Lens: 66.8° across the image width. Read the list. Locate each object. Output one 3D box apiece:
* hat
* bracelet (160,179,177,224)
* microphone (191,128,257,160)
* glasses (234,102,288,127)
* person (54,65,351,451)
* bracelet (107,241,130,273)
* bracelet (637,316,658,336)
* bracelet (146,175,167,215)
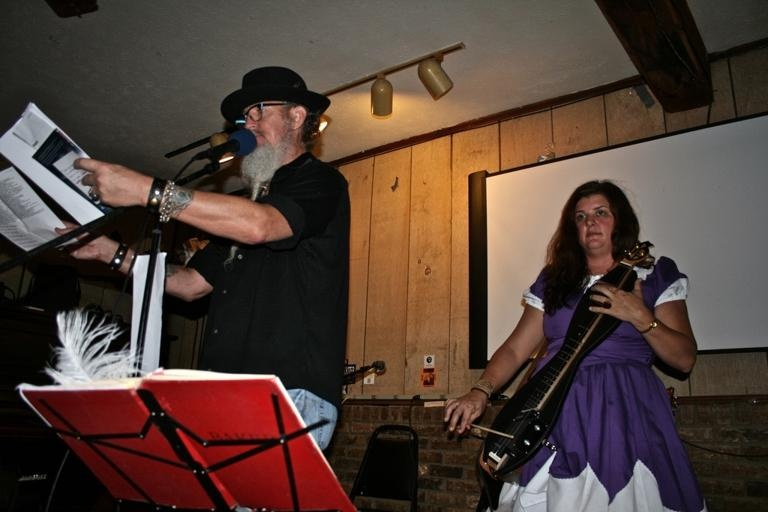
[{"bbox_3d":[-0.587,-0.843,3.078,0.584,0.191,0.644,-4,-1,-5],"label":"hat"},{"bbox_3d":[-0.870,-0.218,2.344,0.045,0.134,0.111,8,8,-7],"label":"bracelet"},{"bbox_3d":[-0.666,-0.477,2.590,0.115,0.109,0.384,5,26,37],"label":"microphone"},{"bbox_3d":[-0.642,-0.711,2.870,0.161,0.045,0.162,-13,-4,34],"label":"glasses"},{"bbox_3d":[-0.621,-0.093,2.660,0.952,1.807,0.719,4,-13,-4],"label":"person"},{"bbox_3d":[-1.295,0.000,2.898,0.128,0.113,0.115,14,-11,-40],"label":"bracelet"},{"bbox_3d":[1.223,0.319,2.679,0.029,0.074,0.065,46,13,-3],"label":"bracelet"},{"bbox_3d":[-0.917,-0.250,2.337,0.065,0.143,0.059,8,-14,-21],"label":"bracelet"}]
